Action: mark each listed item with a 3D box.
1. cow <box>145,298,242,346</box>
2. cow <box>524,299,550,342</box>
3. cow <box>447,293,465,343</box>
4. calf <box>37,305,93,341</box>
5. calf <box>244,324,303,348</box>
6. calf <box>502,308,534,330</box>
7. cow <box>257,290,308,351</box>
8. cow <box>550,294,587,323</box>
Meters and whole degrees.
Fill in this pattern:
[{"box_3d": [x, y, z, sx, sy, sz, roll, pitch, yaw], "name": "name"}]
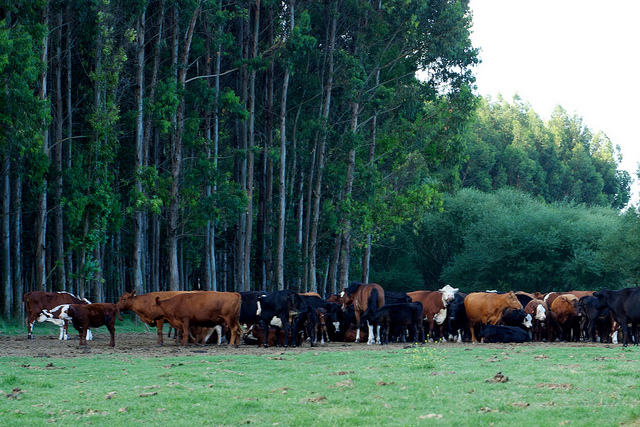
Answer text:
[{"box_3d": [-6.399, 5.441, 53.159, 5.024, 2.599, 1.382, 0, -11, 2], "name": "cow"}, {"box_3d": [12.084, 5.448, 57.094, 0.787, 1.662, 2.997, -6, 9, 5], "name": "cow"}, {"box_3d": [7.603, 5.969, 57.490, 0.937, 2.180, 3.774, -3, -11, 9], "name": "cow"}, {"box_3d": [-13.419, 5.727, 54.691, 2.034, 1.288, 0.873, 15, -28, -12], "name": "calf"}, {"box_3d": [-2.279, 6.507, 55.258, 3.462, 1.762, 1.199, 1, -14, 24], "name": "calf"}, {"box_3d": [11.052, 5.663, 56.369, 2.072, 1.130, 0.762, 2, 2, -20], "name": "calf"}, {"box_3d": [-2.050, 5.139, 53.596, 3.407, 3.352, 1.924, 4, -8, 5], "name": "cow"}, {"box_3d": [13.452, 5.348, 57.391, 1.117, 1.872, 3.346, -1, -2, -19], "name": "cow"}]
